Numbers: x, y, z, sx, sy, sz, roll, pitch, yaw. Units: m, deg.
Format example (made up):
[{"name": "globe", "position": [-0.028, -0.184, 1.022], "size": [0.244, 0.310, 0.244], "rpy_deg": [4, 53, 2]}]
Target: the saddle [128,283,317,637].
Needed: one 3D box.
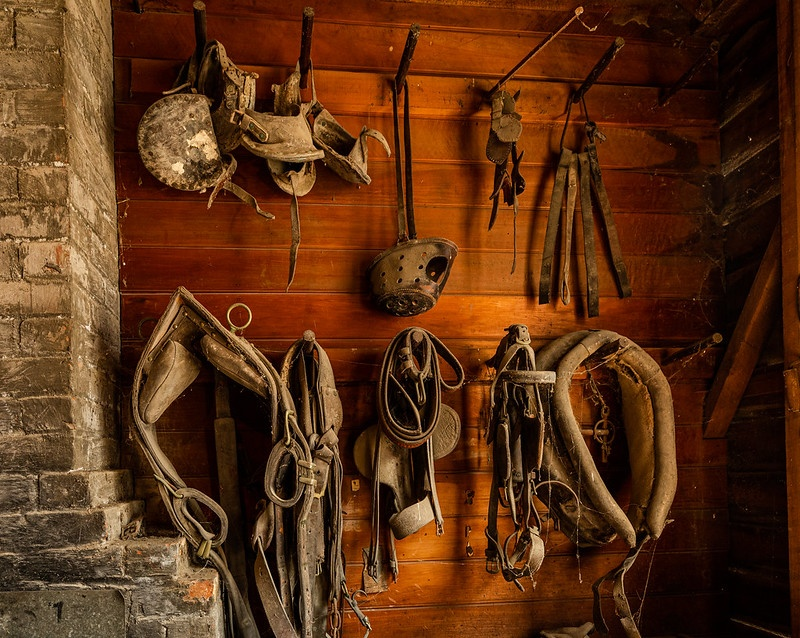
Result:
[{"name": "saddle", "position": [-0.652, 0.451, 3.533], "size": [0.511, 1.286, 0.249], "rpy_deg": [-11, -6, -36]}]
